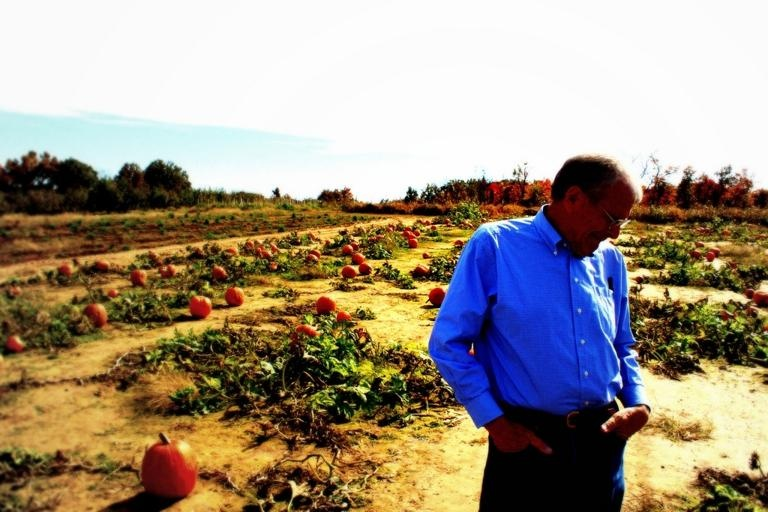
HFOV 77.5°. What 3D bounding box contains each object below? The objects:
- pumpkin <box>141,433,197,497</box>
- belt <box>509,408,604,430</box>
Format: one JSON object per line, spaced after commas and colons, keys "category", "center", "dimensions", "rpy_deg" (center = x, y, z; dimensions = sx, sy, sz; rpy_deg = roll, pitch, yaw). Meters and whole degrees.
{"category": "pumpkin", "center": [-2.368, 2.274, 5.241], "dimensions": [0.519, 0.657, 0.303], "rpy_deg": [2, 7, 12]}
{"category": "belt", "center": [1.372, 1.275, 3.769], "dimensions": [0.768, 0.174, 0.081], "rpy_deg": [0, 7, -5]}
